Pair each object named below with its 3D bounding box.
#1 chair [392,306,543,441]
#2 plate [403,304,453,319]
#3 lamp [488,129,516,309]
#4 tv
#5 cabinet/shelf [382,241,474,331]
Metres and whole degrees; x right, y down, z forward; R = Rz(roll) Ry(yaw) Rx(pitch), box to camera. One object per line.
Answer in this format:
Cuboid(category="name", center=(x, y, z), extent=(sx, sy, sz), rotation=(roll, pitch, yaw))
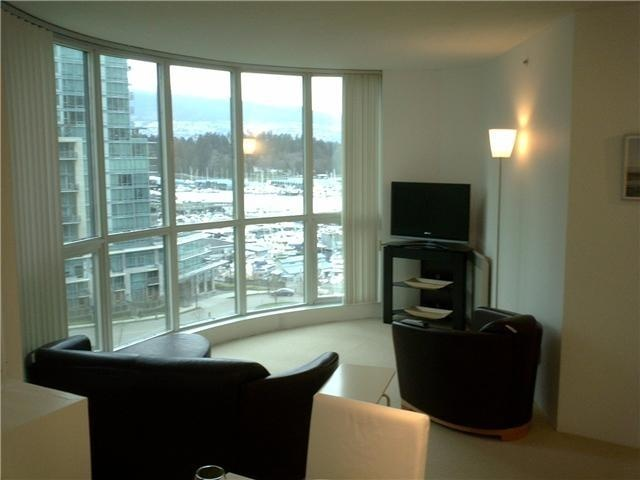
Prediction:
Cuboid(category="chair", center=(1.265, 1.001, 4.373), extent=(1.154, 0.937, 1.049), rotation=(-3, 7, -39))
Cuboid(category="plate", center=(1.318, 0.900, 6.312), extent=(0.400, 0.080, 0.211), rotation=(1, 1, 43))
Cuboid(category="lamp", center=(1.892, -0.198, 5.275), extent=(0.245, 1.896, 0.814), rotation=(1, 7, 20))
Cuboid(category="tv", center=(1.396, -0.364, 6.322), extent=(0.772, 0.547, 0.078), rotation=(4, 6, 28))
Cuboid(category="cabinet/shelf", center=(1.425, 0.584, 6.495), extent=(1.110, 1.032, 0.593), rotation=(1, 1, 45))
